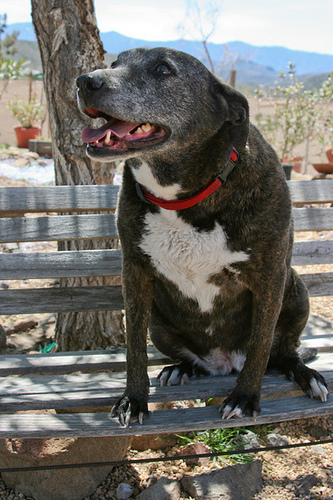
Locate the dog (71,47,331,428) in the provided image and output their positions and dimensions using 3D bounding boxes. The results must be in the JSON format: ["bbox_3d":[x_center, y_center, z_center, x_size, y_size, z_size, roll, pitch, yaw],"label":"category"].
[{"bbox_3d":[0.085,-0.093,2.587,0.977,1.585,0.746,0,14,-8],"label":"dog"}]

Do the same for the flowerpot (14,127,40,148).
[{"bbox_3d":[-3.734,-3.031,15.374,0.637,0.385,0.558,-7,25,-20],"label":"flowerpot"}]

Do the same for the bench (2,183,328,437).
[{"bbox_3d":[0.016,0.296,2.903,1.978,0.993,0.751,-2,3,-15],"label":"bench"}]

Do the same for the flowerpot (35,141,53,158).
[{"bbox_3d":[-2.888,-2.381,13.431,0.455,0.356,0.359,3,13,7],"label":"flowerpot"}]
